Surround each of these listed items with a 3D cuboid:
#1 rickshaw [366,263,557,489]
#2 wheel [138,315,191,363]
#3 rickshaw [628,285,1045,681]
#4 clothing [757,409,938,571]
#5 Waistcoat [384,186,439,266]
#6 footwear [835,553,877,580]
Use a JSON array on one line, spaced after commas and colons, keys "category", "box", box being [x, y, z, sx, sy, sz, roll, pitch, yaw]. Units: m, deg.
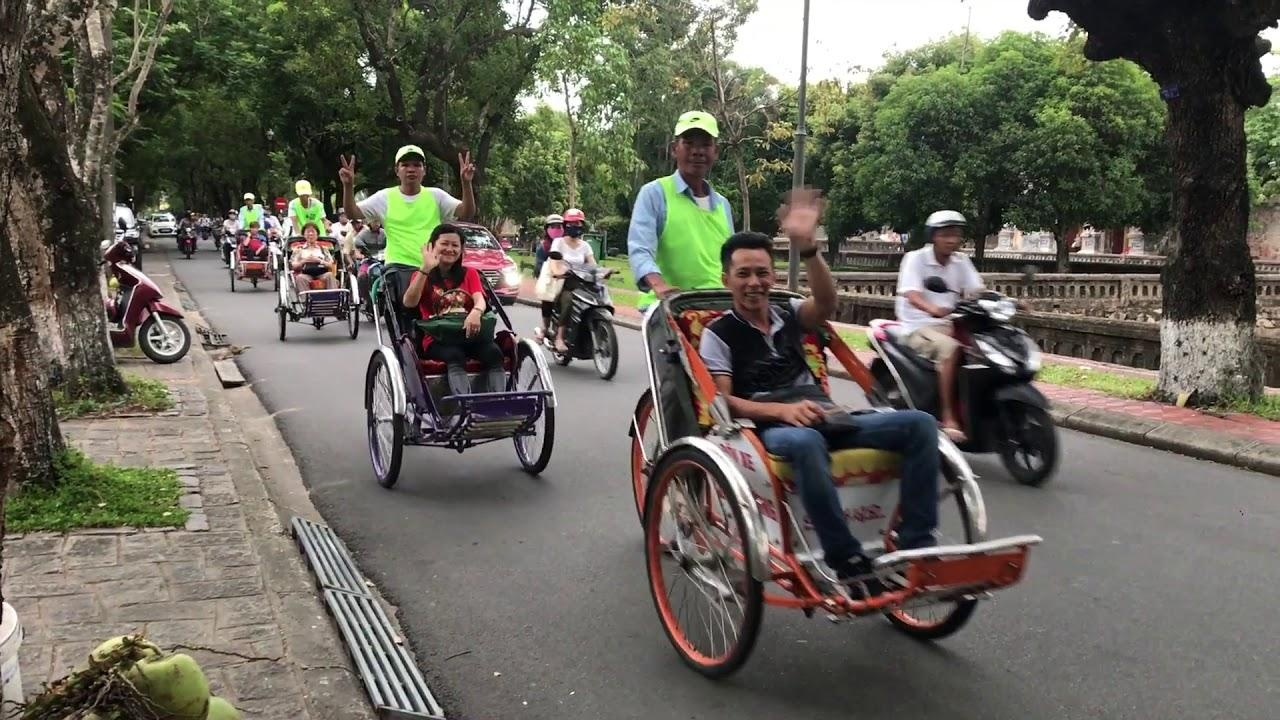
[{"category": "rickshaw", "box": [-1.759, 0.186, 8.657, 1.792, 1.984, 1.114, -3, 7, -6]}, {"category": "wheel", "box": [-6.741, -0.291, 12.957, 0.172, 0.527, 0.474, -10, -39, 46]}, {"category": "rickshaw", "box": [0.972, 0.736, 6.942, 2.056, 2.371, 3.991, -5, 8, -28]}, {"category": "clothing", "box": [1.177, 0.974, 6.604, 1.039, 0.861, 1.311, -2, -16, -32]}, {"category": "Waistcoat", "box": [-2.424, -1.412, 9.414, 0.663, 0.890, 0.464, -9, 35, -30]}, {"category": "footwear", "box": [1.381, 1.316, 6.018, 0.181, 0.048, 0.179, -15, 12, -34]}]
